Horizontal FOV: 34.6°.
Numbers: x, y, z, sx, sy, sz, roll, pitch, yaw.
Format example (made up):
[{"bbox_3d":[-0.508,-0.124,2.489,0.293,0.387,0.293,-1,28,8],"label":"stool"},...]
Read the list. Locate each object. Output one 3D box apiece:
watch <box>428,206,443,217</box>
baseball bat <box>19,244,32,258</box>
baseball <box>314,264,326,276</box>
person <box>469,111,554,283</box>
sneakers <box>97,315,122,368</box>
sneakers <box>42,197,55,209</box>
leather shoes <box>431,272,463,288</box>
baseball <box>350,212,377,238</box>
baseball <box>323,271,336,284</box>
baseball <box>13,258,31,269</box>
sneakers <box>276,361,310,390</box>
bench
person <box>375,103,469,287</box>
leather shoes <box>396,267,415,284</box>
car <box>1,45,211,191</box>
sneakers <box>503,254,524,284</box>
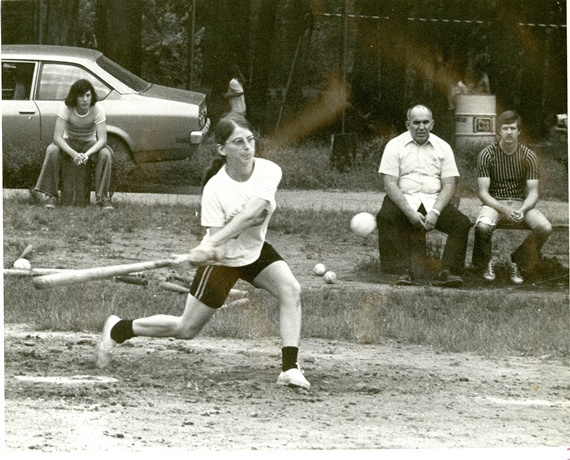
[{"bbox_3d":[1.609,-0.197,9.601,0.093,0.089,0.089,-3,-7,-1],"label":"watch"},{"bbox_3d":[-2.757,0.231,9.765,0.056,0.055,0.216,-31,15,36],"label":"baseball bat"},{"bbox_3d":[0.390,0.433,10.104,0.115,0.120,0.118,7,3,17],"label":"baseball"},{"bbox_3d":[2.483,-0.348,9.911,0.799,1.832,0.534,5,13,11],"label":"person"},{"bbox_3d":[-1.360,0.849,6.970,0.089,0.328,0.187,17,6,-31],"label":"sneakers"},{"bbox_3d":[-3.101,-0.358,12.066,0.140,0.089,0.189,-1,19,12],"label":"sneakers"},{"bbox_3d":[1.738,0.497,9.682,0.318,0.168,0.264,8,14,18],"label":"leather shoes"},{"bbox_3d":[0.883,-0.054,10.120,0.257,0.252,0.257,13,28,13],"label":"baseball"},{"bbox_3d":[0.500,0.502,9.765,0.123,0.125,0.113,5,-2,-14],"label":"baseball"},{"bbox_3d":[-2.690,0.348,9.419,0.109,0.080,0.134,4,-4,3],"label":"baseball"},{"bbox_3d":[0.072,1.117,6.883,0.135,0.116,0.251,10,-9,-31],"label":"sneakers"},{"bbox_3d":[2.467,0.188,10.714,1.699,0.725,0.400,1,-1,5],"label":"bench"},{"bbox_3d":[1.507,-0.380,9.764,0.992,1.814,0.767,4,13,6],"label":"person"},{"bbox_3d":[1.297,0.476,9.716,0.180,0.142,0.323,5,14,8],"label":"leather shoes"},{"bbox_3d":[-2.792,-1.766,13.346,3.157,1.064,1.549,2,12,1],"label":"car"},{"bbox_3d":[2.534,0.441,10.078,0.114,0.348,0.137,-15,-6,7],"label":"sneakers"}]
